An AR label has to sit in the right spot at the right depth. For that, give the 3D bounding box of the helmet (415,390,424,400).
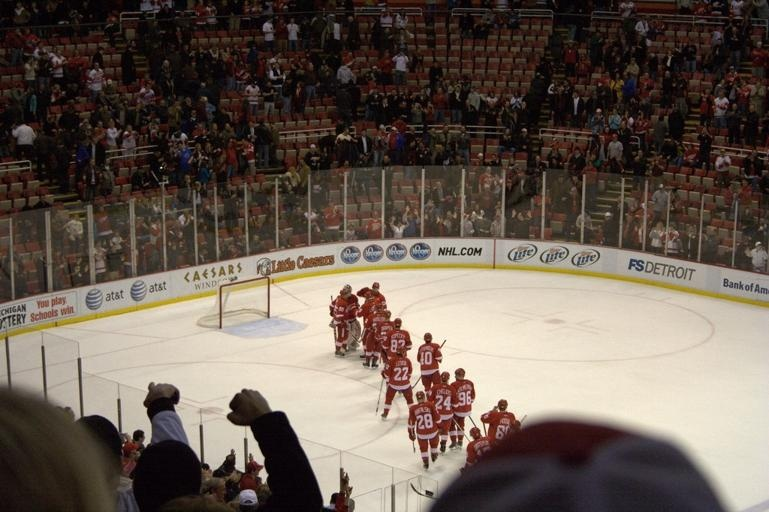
[{"bbox_3d":[0.595,2.352,15.821,0.161,0.155,0.122,-12,16,-37],"label":"helmet"}]

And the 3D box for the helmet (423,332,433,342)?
[{"bbox_3d":[0.815,1.527,17.589,0.179,0.217,0.217,-2,2,-5],"label":"helmet"}]

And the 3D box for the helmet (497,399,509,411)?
[{"bbox_3d":[1.930,2.451,15.338,0.210,0.244,0.282,-1,1,1],"label":"helmet"}]
